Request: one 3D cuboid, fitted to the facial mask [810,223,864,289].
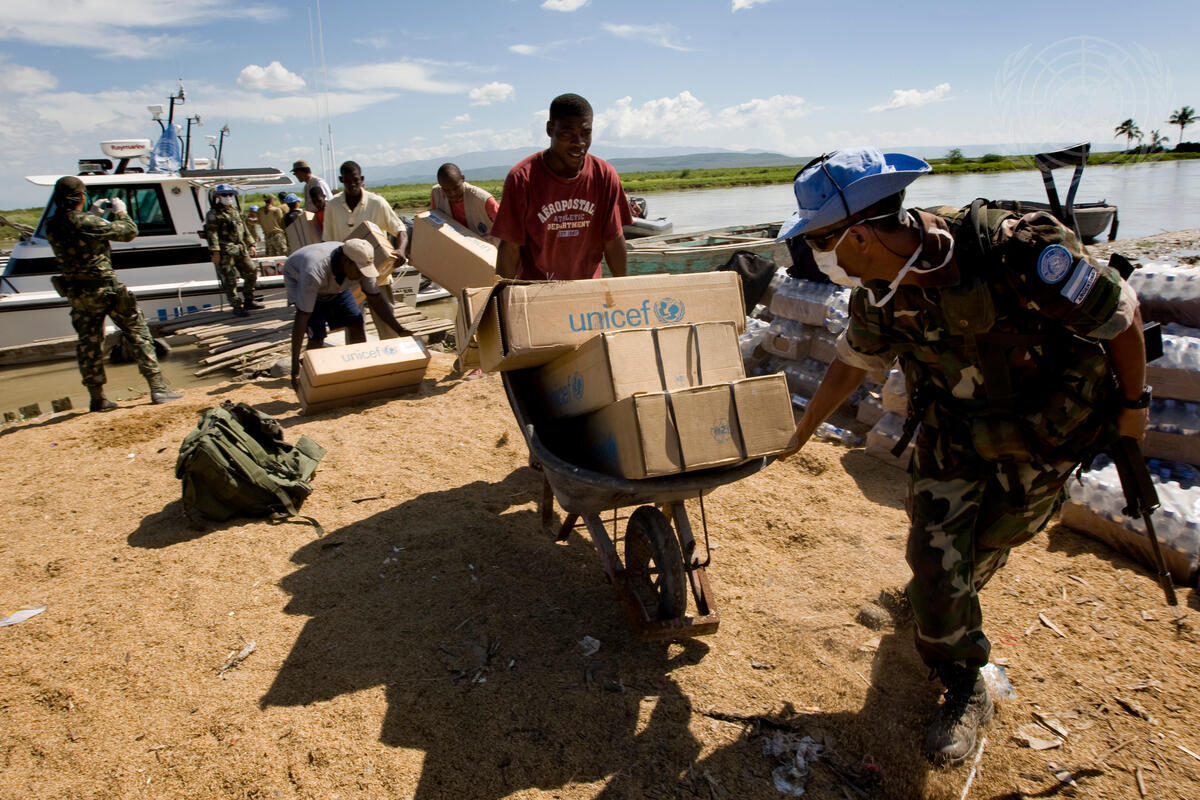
[{"bbox_3d":[1.115,-0.700,3.538,0.152,0.235,0.250,18,9,36],"label":"facial mask"}]

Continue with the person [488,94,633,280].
[{"bbox_3d":[-0.297,-1.475,5.174,1.021,1.218,0.512,-6,18,-8],"label":"person"}]

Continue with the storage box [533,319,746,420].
[{"bbox_3d":[-0.080,-0.105,4.455,1.198,0.316,0.913,-18,-3,38],"label":"storage box"}]

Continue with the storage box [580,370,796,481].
[{"bbox_3d":[0.553,0.142,3.844,0.751,0.281,0.723,-6,-16,-28],"label":"storage box"}]

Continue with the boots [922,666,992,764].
[{"bbox_3d":[1.804,1.591,3.626,0.251,0.377,0.613,-8,-12,20],"label":"boots"}]

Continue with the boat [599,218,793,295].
[{"bbox_3d":[1.893,-2.608,12.593,1.515,0.837,5.315,12,17,41],"label":"boat"}]

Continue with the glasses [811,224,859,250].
[{"bbox_3d":[1.082,-0.755,3.417,0.122,0.030,0.109,-24,10,-4],"label":"glasses"}]

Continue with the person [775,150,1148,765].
[{"bbox_3d":[1.798,0.237,3.691,1.409,2.923,0.957,13,25,41],"label":"person"}]

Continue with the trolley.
[{"bbox_3d":[0.008,0.514,4.913,1.538,1.012,2.348,-1,24,-28],"label":"trolley"}]

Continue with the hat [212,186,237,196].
[{"bbox_3d":[-5.843,-3.207,11.120,0.203,0.088,0.313,4,13,-25],"label":"hat"}]
